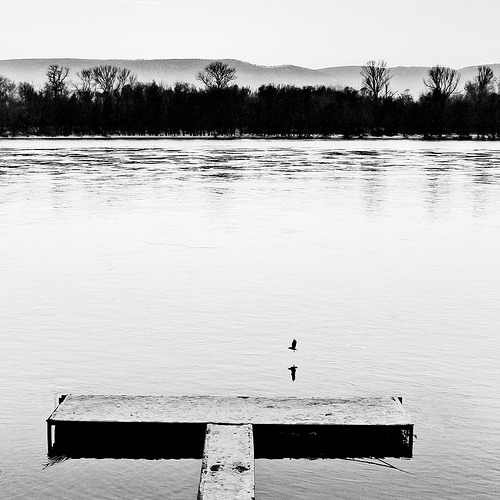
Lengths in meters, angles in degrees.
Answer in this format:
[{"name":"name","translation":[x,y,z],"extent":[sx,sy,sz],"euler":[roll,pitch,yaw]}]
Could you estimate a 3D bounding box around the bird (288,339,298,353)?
[{"name":"bird","translation":[0.373,0.830,10.143],"extent":[0.087,0.106,0.250],"euler":[0,13,2]}]
